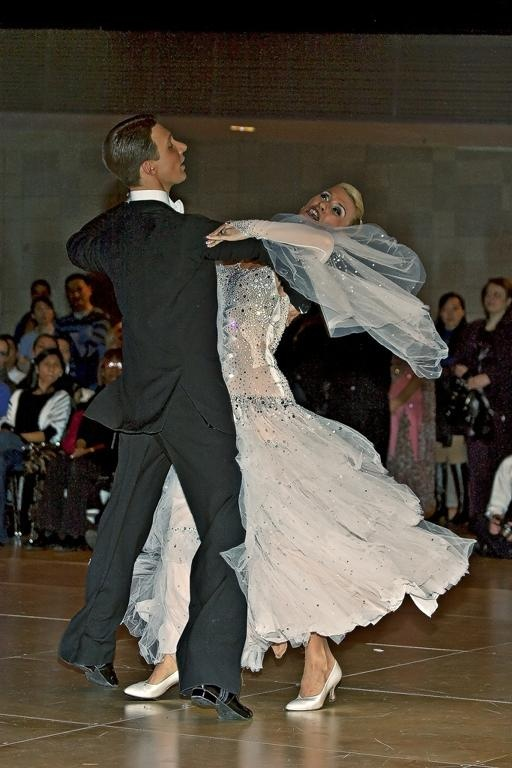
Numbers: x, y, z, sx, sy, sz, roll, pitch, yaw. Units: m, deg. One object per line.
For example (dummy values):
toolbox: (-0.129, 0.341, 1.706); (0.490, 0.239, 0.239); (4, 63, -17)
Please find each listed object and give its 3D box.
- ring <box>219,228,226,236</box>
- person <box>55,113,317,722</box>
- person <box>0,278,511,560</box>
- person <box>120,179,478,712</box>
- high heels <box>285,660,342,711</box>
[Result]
ring: (-0.085, -0.378, 2.238); (0.016, 0.018, 0.006); (-4, -8, 11)
person: (-0.258, 0.067, 2.413); (0.338, 1.496, 0.667); (4, 0, -32)
person: (0.040, 0.182, 3.915); (2.118, 0.937, 0.606); (8, -26, -6)
person: (0.039, 0.138, 2.577); (1.199, 1.286, 0.799); (9, -6, -1)
high heels: (0.146, 0.794, 2.383); (0.202, 0.112, 0.075); (2, -12, -43)
